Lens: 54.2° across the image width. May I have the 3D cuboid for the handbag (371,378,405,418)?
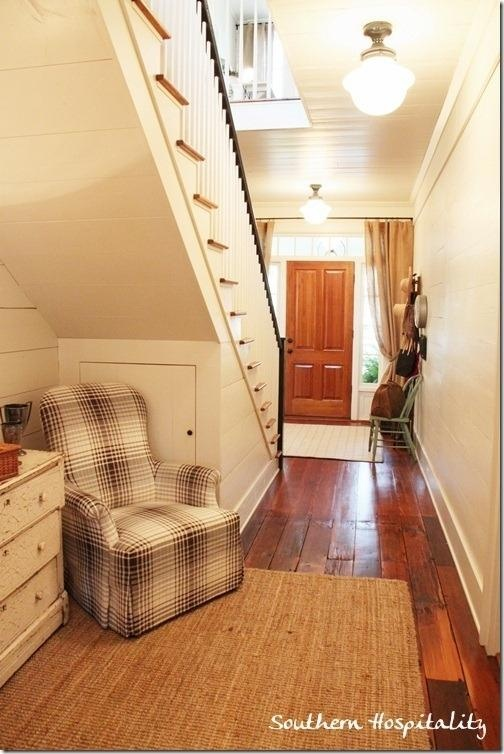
[{"bbox_3d":[1.269,0.232,4.584,0.228,0.400,0.359,1,-1,25],"label":"handbag"}]

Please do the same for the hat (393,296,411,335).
[{"bbox_3d":[1.672,-0.679,5.562,0.158,0.412,0.775,1,1,16],"label":"hat"}]

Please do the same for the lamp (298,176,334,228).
[{"bbox_3d":[0.636,-1.793,5.148,0.422,0.557,0.452,-1,5,-5],"label":"lamp"}]

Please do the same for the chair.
[{"bbox_3d":[1.489,0.373,5.083,0.699,1.291,0.658,0,1,3],"label":"chair"}]

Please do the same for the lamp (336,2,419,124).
[{"bbox_3d":[0.564,-1.375,2.245,0.303,0.455,0.327,3,-6,-14],"label":"lamp"}]
